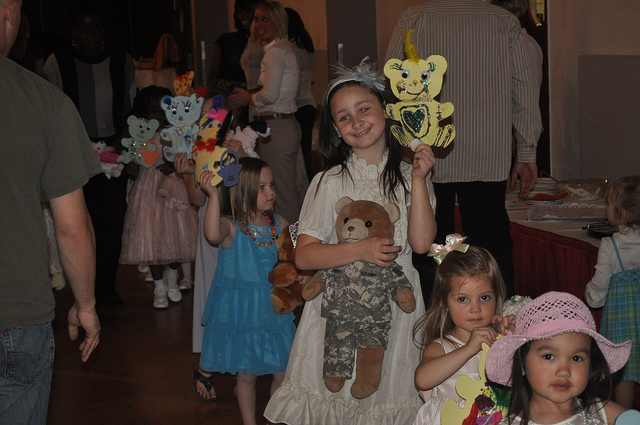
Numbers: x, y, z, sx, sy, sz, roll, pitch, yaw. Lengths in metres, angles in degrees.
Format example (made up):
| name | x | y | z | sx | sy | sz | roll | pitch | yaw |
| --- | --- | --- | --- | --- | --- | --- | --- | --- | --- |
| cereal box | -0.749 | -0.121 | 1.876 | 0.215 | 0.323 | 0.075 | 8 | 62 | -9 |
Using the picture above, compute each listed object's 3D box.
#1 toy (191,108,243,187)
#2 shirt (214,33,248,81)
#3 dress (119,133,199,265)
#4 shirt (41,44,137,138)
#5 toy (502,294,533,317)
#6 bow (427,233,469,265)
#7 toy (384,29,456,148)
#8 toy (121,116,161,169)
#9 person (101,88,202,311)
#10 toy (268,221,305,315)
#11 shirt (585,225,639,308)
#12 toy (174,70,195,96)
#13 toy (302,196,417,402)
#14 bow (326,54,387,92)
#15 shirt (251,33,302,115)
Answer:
| name | x | y | z | sx | sy | sz | roll | pitch | yaw |
| --- | --- | --- | --- | --- | --- | --- | --- | --- | --- |
| toy | -0.581 | -0.369 | 2.943 | 0.255 | 0.399 | 0.445 | -5 | 14 | -13 |
| shirt | -0.932 | -1.660 | 5.685 | 0.547 | 0.526 | 0.286 | -3 | 21 | -11 |
| dress | -1.475 | -0.020 | 4.965 | 0.810 | 1.270 | 0.494 | 0 | -6 | -7 |
| shirt | -1.992 | -1.108 | 4.742 | 0.775 | 0.743 | 0.401 | -7 | 36 | -28 |
| toy | 0.773 | 0.361 | 2.114 | 0.097 | 0.048 | 0.086 | -19 | 19 | -28 |
| bow | 0.546 | 0.126 | 2.185 | 0.180 | 0.059 | 0.191 | 11 | 2 | -3 |
| toy | 0.405 | -0.497 | 2.204 | 0.280 | 0.476 | 0.196 | 0 | 14 | 7 |
| toy | -1.264 | -0.508 | 3.766 | 0.250 | 0.339 | 0.303 | -7 | 15 | -19 |
| person | -1.417 | -0.102 | 4.704 | 0.834 | 1.994 | 0.544 | -7 | 39 | -36 |
| toy | -0.172 | 0.287 | 2.913 | 0.253 | 0.509 | 0.314 | -1 | 7 | -21 |
| shirt | 1.555 | 0.298 | 2.838 | 0.367 | 0.348 | 0.189 | -9 | 21 | -8 |
| toy | -0.883 | -0.844 | 3.470 | 0.118 | 0.153 | 0.315 | -6 | 14 | -14 |
| toy | 0.180 | 0.352 | 2.238 | 0.421 | 0.821 | 0.311 | -9 | 15 | -25 |
| bow | 0.161 | -0.604 | 2.340 | 0.220 | 0.147 | 0.337 | -1 | 14 | 3 |
| shirt | -0.403 | -1.283 | 5.013 | 0.430 | 0.731 | 0.706 | 7 | 22 | 6 |
